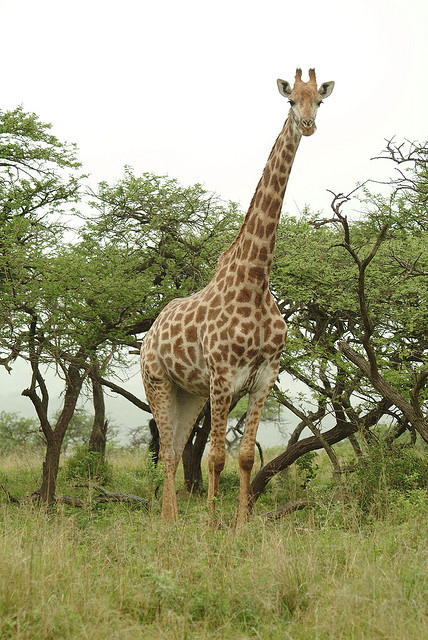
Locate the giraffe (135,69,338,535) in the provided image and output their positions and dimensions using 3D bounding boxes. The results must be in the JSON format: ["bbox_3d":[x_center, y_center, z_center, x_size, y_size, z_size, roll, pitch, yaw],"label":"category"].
[{"bbox_3d":[0.082,-0.006,6.873,1.337,4.396,3.568,0,-10,-16],"label":"giraffe"}]
